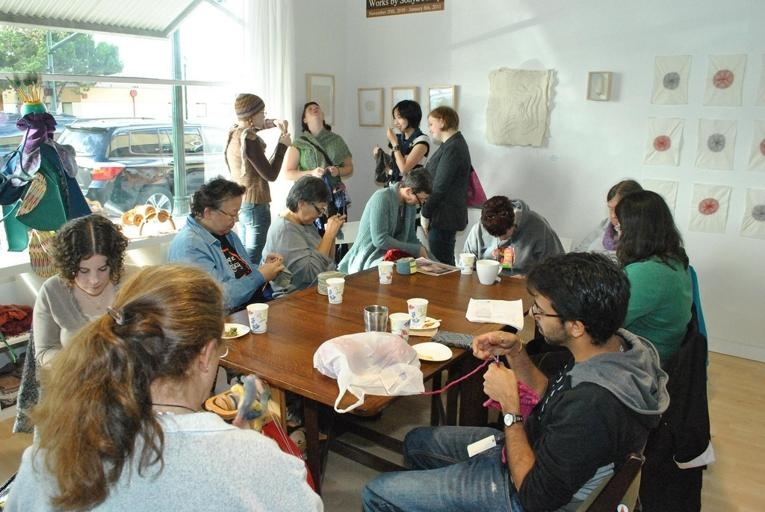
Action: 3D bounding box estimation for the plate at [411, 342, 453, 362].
[{"bbox_3d":[0.237,0.457,2.542,0.176,0.044,0.160,0,11,-4],"label":"plate"}]

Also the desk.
[{"bbox_3d":[-0.016,0.520,2.927,1.023,0.738,1.460,18,26,40],"label":"desk"}]

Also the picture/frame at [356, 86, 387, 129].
[{"bbox_3d":[-0.110,-1.597,5.728,0.399,0.496,0.063,13,18,38],"label":"picture/frame"}]

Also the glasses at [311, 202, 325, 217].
[{"bbox_3d":[-0.421,-0.300,3.457,0.070,0.021,0.067,42,15,15],"label":"glasses"}]

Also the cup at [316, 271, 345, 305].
[{"bbox_3d":[-0.303,0.176,3.067,0.161,0.122,0.162,1,12,0],"label":"cup"}]

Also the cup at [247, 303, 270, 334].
[{"bbox_3d":[-0.614,0.313,2.717,0.131,0.131,0.131,0,9,0],"label":"cup"}]

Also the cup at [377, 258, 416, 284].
[{"bbox_3d":[0.074,0.098,3.417,0.276,0.142,0.121,-7,10,-43],"label":"cup"}]
